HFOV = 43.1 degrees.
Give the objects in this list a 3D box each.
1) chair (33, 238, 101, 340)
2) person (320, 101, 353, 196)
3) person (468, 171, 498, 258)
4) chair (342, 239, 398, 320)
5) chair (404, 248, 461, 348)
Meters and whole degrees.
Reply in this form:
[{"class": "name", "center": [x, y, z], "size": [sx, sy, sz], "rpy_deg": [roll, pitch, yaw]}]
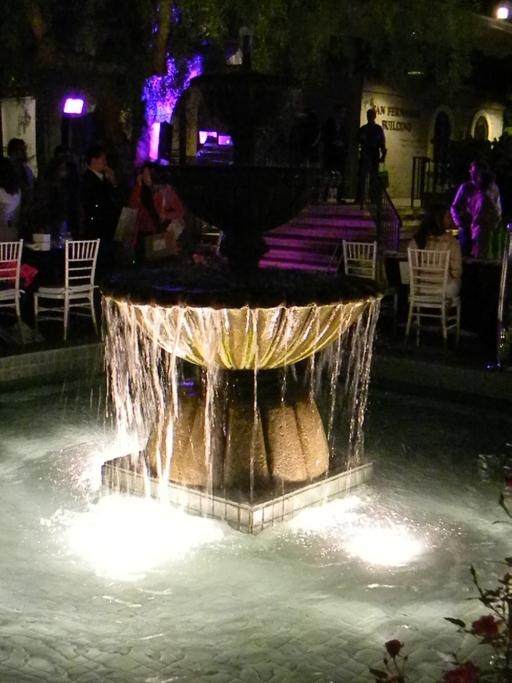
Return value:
[{"class": "chair", "center": [-2.371, -0.665, 8.089], "size": [0.628, 1.228, 0.599], "rpy_deg": [12, 14, 35]}, {"class": "person", "center": [1.915, -4.612, 16.089], "size": [0.655, 2.297, 1.184], "rpy_deg": [1, 6, 5]}, {"class": "person", "center": [3.526, -1.930, 10.058], "size": [0.440, 1.245, 0.870], "rpy_deg": [3, 6, 24]}, {"class": "chair", "center": [1.581, -1.003, 9.697], "size": [0.546, 0.951, 0.610], "rpy_deg": [-9, 13, -12]}, {"class": "chair", "center": [2.188, -0.566, 8.070], "size": [0.635, 1.136, 1.497], "rpy_deg": [2, 6, 14]}]
